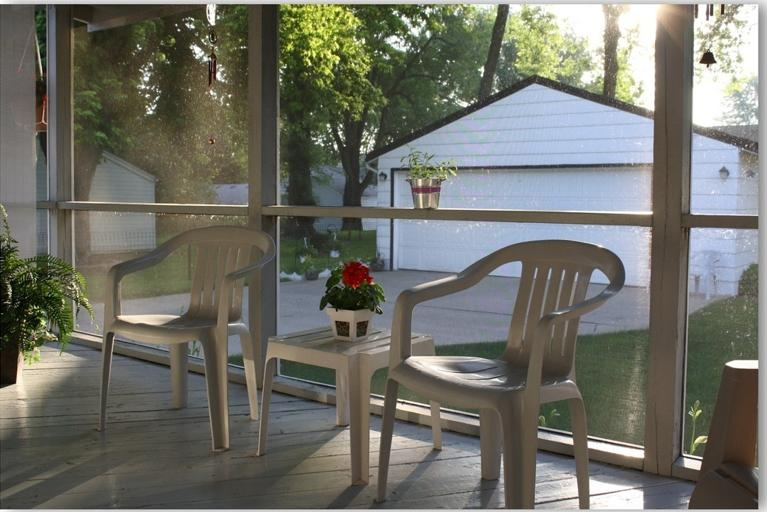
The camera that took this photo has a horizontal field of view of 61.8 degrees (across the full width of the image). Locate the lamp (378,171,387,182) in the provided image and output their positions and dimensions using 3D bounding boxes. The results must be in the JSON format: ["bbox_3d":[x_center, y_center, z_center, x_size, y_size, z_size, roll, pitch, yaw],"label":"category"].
[{"bbox_3d":[-0.005,-0.503,4.044,0.060,0.081,0.059,1,-4,-3],"label":"lamp"}]

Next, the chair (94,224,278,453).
[{"bbox_3d":[-1.097,0.407,3.665,0.848,1.146,0.788,3,3,14],"label":"chair"}]

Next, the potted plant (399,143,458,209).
[{"bbox_3d":[0.268,-0.419,3.796,0.282,0.287,0.236,3,5,17],"label":"potted plant"}]

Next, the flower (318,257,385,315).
[{"bbox_3d":[-0.169,0.157,3.392,0.277,0.202,0.303,6,2,43],"label":"flower"}]

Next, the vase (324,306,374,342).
[{"bbox_3d":[-0.177,0.361,3.392,0.241,0.158,0.213,-3,2,17],"label":"vase"}]

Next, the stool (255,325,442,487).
[{"bbox_3d":[-0.185,0.696,3.388,0.807,0.696,0.786,4,6,38],"label":"stool"}]
